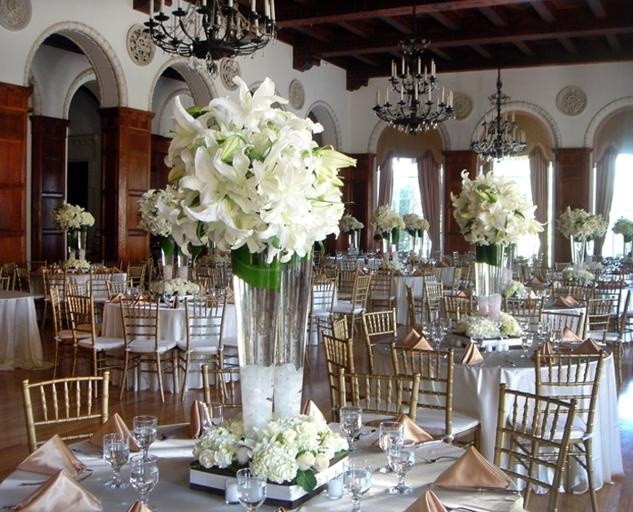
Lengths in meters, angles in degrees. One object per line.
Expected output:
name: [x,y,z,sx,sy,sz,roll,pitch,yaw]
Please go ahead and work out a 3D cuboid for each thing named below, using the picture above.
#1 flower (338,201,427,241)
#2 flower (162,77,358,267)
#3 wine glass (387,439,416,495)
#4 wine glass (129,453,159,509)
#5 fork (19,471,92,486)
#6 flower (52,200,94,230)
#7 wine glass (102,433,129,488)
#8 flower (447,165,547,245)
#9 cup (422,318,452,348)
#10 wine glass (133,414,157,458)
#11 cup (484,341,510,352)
flower: [1.561,-0.657,10.876,1.350,1.064,1.938,0,-2,3]
flower: [-0.200,-0.206,1.611,0.498,0.588,0.512,2,-7,-32]
wine glass: [0.286,0.718,1.835,0.113,0.228,0.122,-2,2,9]
wine glass: [-0.560,0.714,1.686,0.085,0.164,0.232,0,-1,-19]
fork: [-0.944,0.798,1.876,0.237,0.012,0.064,0,-2,-19]
flower: [-4.060,-0.667,8.681,0.496,0.461,0.493,-1,-1,38]
wine glass: [-0.739,0.719,1.917,0.082,0.174,0.250,0,-1,-21]
flower: [1.300,-0.278,3.835,0.528,0.580,0.579,1,-4,22]
cup: [0.847,0.527,3.744,0.167,0.243,0.190,1,3,-4]
wine glass: [-0.668,0.694,2.015,0.083,0.152,0.227,0,-1,-20]
cup: [1.318,0.647,3.795,0.218,0.052,0.031,0,-1,-19]
